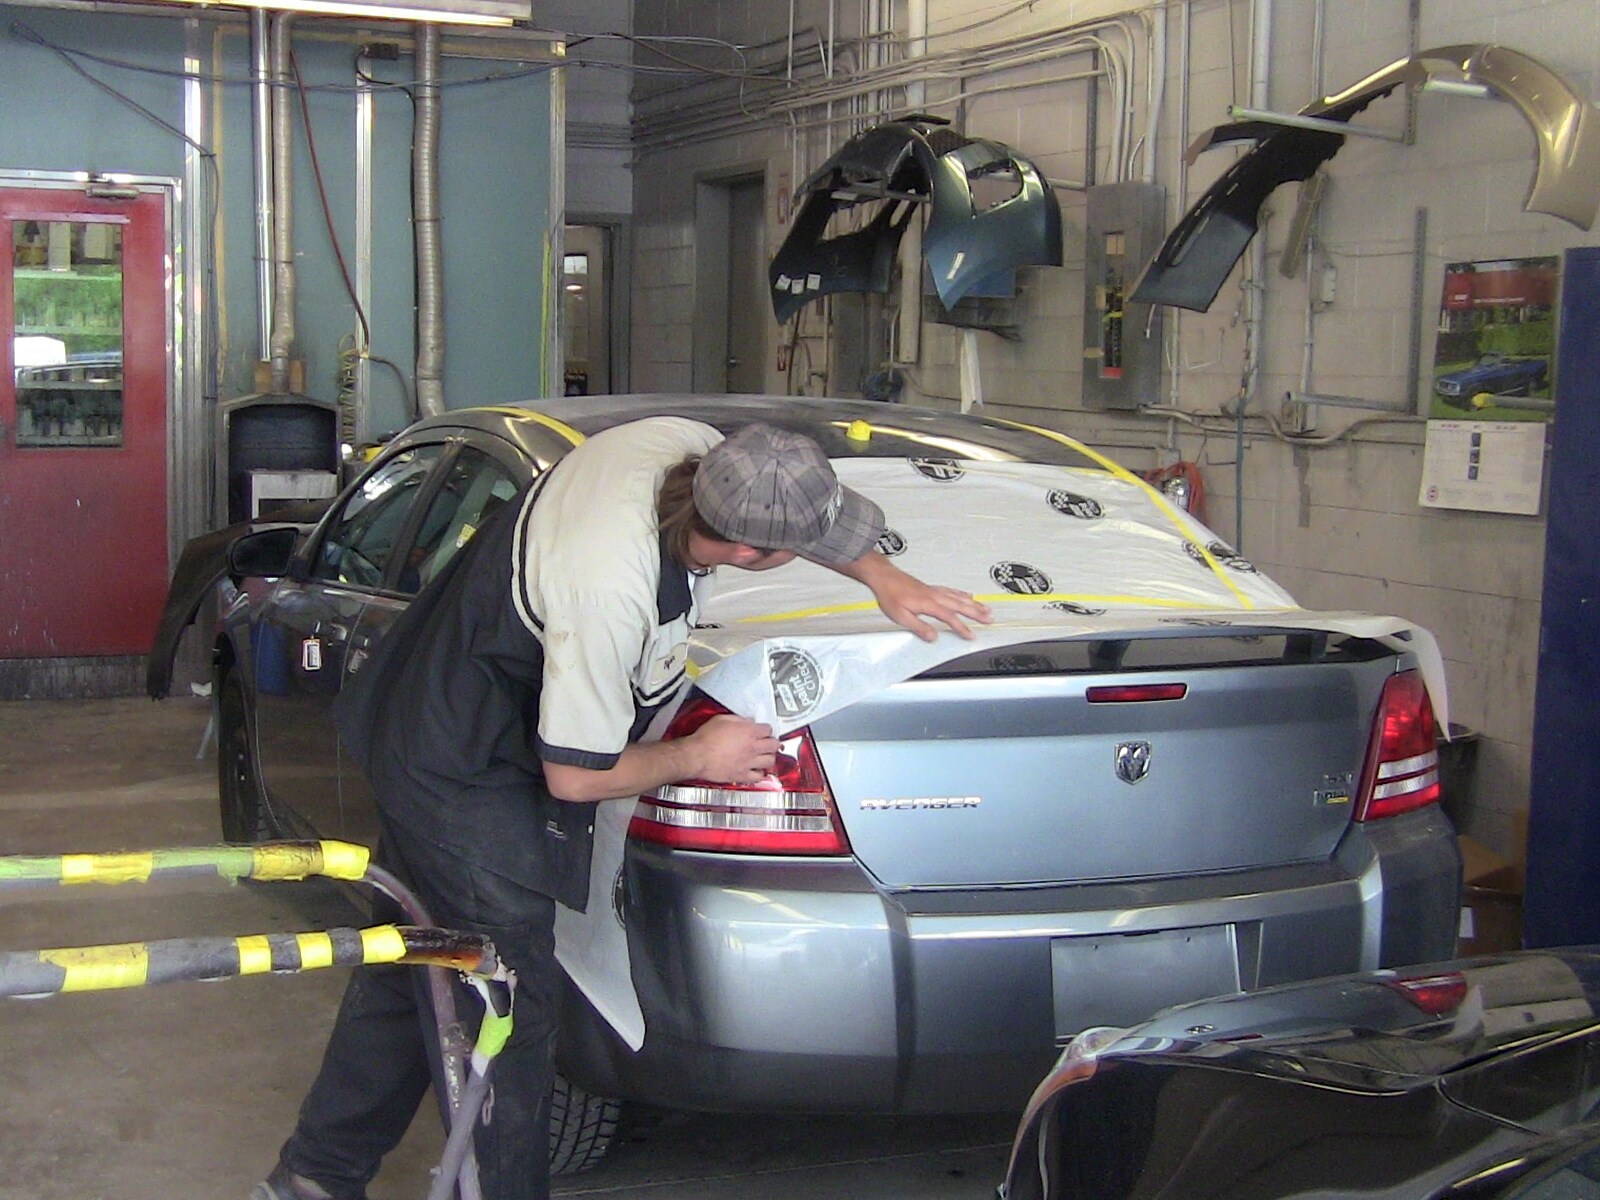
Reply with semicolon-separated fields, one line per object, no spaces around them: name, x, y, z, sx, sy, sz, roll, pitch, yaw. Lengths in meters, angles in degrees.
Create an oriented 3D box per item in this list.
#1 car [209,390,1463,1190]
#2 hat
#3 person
car;-0.154;0.139;3.691;1.501;1.065;2.944;0;11;-23
hat;-0.006;-0.140;2.346;0.294;0.195;0.164;24;-21;-16
person;-0.384;0.386;2.530;1.395;1.329;0.520;-12;4;19
